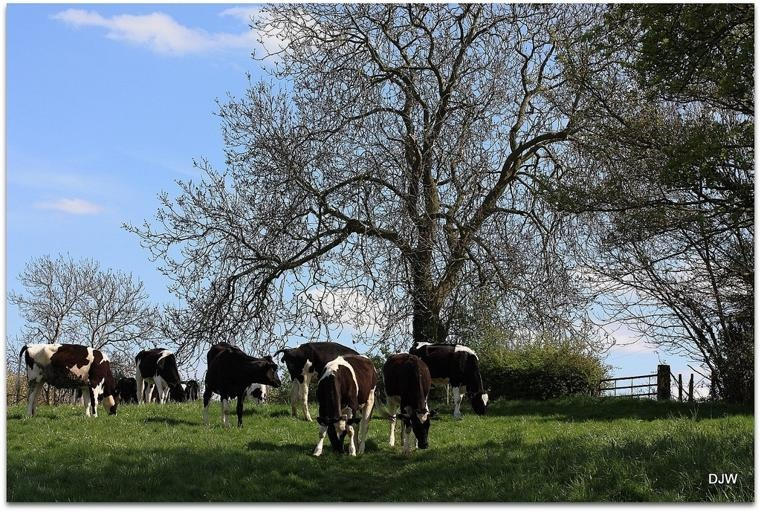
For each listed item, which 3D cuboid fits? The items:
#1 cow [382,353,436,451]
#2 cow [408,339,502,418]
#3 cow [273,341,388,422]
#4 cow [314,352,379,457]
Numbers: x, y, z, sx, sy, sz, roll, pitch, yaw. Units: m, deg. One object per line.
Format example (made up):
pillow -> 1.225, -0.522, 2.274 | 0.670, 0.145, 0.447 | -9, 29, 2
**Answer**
cow -> 0.728, 3.913, 21.176 | 1.084, 2.776, 2.127 | 1, -14, -10
cow -> 2.210, 4.042, 25.243 | 3.127, 2.402, 1.008 | 5, -1, 35
cow -> -1.744, 3.924, 24.579 | 0.982, 2.304, 3.842 | -7, -9, 43
cow -> -0.980, 3.848, 20.387 | 1.022, 2.732, 2.354 | -7, -15, 23
